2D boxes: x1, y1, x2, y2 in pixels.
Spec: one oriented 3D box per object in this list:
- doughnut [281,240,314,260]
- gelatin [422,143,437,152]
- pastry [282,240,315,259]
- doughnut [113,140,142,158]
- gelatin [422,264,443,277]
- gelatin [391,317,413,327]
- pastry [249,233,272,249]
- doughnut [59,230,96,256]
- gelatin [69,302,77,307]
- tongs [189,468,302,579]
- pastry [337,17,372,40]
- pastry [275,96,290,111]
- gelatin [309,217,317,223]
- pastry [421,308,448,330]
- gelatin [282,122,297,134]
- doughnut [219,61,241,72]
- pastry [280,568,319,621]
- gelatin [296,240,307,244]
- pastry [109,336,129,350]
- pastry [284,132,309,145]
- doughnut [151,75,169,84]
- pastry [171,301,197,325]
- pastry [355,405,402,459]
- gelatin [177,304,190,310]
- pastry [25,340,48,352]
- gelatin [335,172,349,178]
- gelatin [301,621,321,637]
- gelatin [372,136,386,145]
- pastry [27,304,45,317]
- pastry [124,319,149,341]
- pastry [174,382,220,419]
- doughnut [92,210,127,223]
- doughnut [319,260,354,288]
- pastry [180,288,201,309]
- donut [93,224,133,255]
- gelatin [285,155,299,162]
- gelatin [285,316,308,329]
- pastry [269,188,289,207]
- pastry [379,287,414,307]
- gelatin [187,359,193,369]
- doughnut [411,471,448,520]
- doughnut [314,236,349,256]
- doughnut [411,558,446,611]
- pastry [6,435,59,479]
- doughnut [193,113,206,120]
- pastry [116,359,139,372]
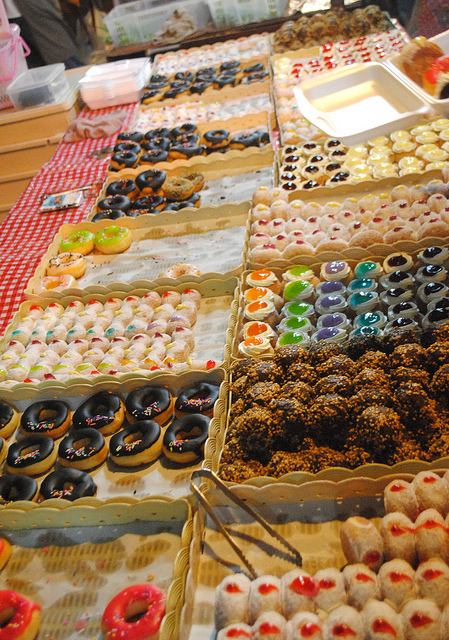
[{"bbox_3d":[0.461,-0.436,3.213,0.135,0.076,0.146,-14,-3,-17],"label":"doughnut"},{"bbox_3d":[1.521,-1.299,3.882,0.089,0.022,0.082,-16,39,-7],"label":"gelatin"},{"bbox_3d":[0.466,-0.443,3.238,0.135,0.075,0.140,-27,12,-41],"label":"pastry"},{"bbox_3d":[-1.034,-1.851,5.544,0.252,0.085,0.229,-21,54,-13],"label":"doughnut"},{"bbox_3d":[1.046,-0.249,2.618,0.095,0.022,0.079,-28,40,-14],"label":"gelatin"},{"bbox_3d":[0.836,0.014,2.436,0.053,0.013,0.052,-20,9,30],"label":"gelatin"},{"bbox_3d":[0.232,-0.542,3.486,0.123,0.111,0.109,-2,34,2],"label":"pastry"},{"bbox_3d":[-1.280,-0.697,4.557,0.267,0.088,0.242,-7,34,3],"label":"doughnut"},{"bbox_3d":[-1.110,-0.111,3.803,0.041,0.010,0.039,14,6,-24],"label":"gelatin"},{"bbox_3d":[-0.026,0.605,1.619,0.258,0.070,0.561,-16,9,-21],"label":"tongs"},{"bbox_3d":[1.562,-3.460,6.172,0.473,0.125,0.411,-1,47,17],"label":"pastry"},{"bbox_3d":[0.586,-2.235,5.324,0.185,0.048,0.175,-12,37,36],"label":"pastry"},{"bbox_3d":[0.588,-0.665,3.454,0.031,0.012,0.037,-2,24,31],"label":"gelatin"},{"bbox_3d":[0.956,0.002,2.386,0.104,0.033,0.095,-18,25,51],"label":"pastry"},{"bbox_3d":[0.599,-1.782,4.805,0.130,0.109,0.120,-1,14,-7],"label":"gelatin"},{"bbox_3d":[0.067,-3.228,6.562,0.186,0.061,0.169,1,45,16],"label":"doughnut"},{"bbox_3d":[0.231,0.857,1.614,0.113,0.069,0.122,-11,41,19],"label":"pastry"},{"bbox_3d":[0.478,-0.483,3.232,0.033,0.015,0.042,2,-5,7],"label":"gelatin"},{"bbox_3d":[-0.687,0.153,3.368,0.098,0.052,0.094,-3,1,-38],"label":"pastry"},{"bbox_3d":[0.626,-1.603,4.574,0.145,0.079,0.137,7,34,15],"label":"pastry"},{"bbox_3d":[-0.831,-3.116,6.699,0.191,0.060,0.172,1,37,0],"label":"doughnut"},{"bbox_3d":[-0.272,-0.065,3.531,0.165,0.141,0.152,-6,29,-19],"label":"pastry"},{"bbox_3d":[0.582,0.422,1.968,0.167,0.184,0.114,-1,-8,28],"label":"pastry"},{"bbox_3d":[-0.291,-0.093,3.535,0.053,0.016,0.045,20,15,23],"label":"gelatin"},{"bbox_3d":[-1.278,0.171,3.535,0.099,0.059,0.096,-5,9,-41],"label":"pastry"},{"bbox_3d":[0.894,-1.098,3.926,0.069,0.019,0.068,-2,8,-2],"label":"gelatin"},{"bbox_3d":[0.243,0.874,1.470,0.033,0.008,0.033,-13,12,9],"label":"gelatin"},{"bbox_3d":[1.252,-1.473,4.210,0.103,0.062,0.107,12,48,32],"label":"gelatin"},{"bbox_3d":[-1.400,-0.067,3.862,0.107,0.059,0.100,-22,29,-8],"label":"pastry"},{"bbox_3d":[-0.581,0.055,3.479,0.135,0.042,0.133,-36,20,-21],"label":"pastry"},{"bbox_3d":[-0.146,0.435,2.779,0.207,0.074,0.202,-24,30,-12],"label":"pastry"},{"bbox_3d":[-1.051,-0.957,4.727,0.189,0.062,0.170,-4,36,1],"label":"doughnut"},{"bbox_3d":[0.626,-0.274,2.941,0.168,0.092,0.152,0,52,27],"label":"doughnut"},{"bbox_3d":[-0.217,-0.157,3.666,0.144,0.129,0.151,-5,52,2],"label":"pastry"},{"bbox_3d":[-0.961,-0.699,4.504,0.351,0.162,0.255,-25,39,-9],"label":"donut"},{"bbox_3d":[0.560,-1.345,4.329,0.093,0.025,0.060,-4,51,11],"label":"gelatin"},{"bbox_3d":[0.379,0.015,2.730,0.100,0.015,0.086,18,50,36],"label":"gelatin"},{"bbox_3d":[0.399,-0.939,3.949,0.144,0.127,0.154,3,52,2],"label":"pastry"},{"bbox_3d":[0.859,-0.112,2.614,0.119,0.037,0.111,1,43,32],"label":"pastry"},{"bbox_3d":[-0.200,0.255,3.067,0.040,0.012,0.038,33,27,4],"label":"gelatin"},{"bbox_3d":[0.695,0.599,1.754,0.099,0.123,0.071,-28,-18,34],"label":"doughnut"},{"bbox_3d":[0.652,-0.454,3.146,0.147,0.080,0.137,-17,0,0],"label":"doughnut"},{"bbox_3d":[0.599,0.764,1.517,0.086,0.039,0.101,-3,59,46],"label":"doughnut"},{"bbox_3d":[-1.011,0.728,2.766,0.234,0.082,0.233,-34,35,-16],"label":"pastry"},{"bbox_3d":[-0.291,-2.332,5.942,0.121,0.068,0.130,0,24,1],"label":"doughnut"},{"bbox_3d":[-0.600,0.278,3.148,0.088,0.073,0.082,-8,-5,0],"label":"pastry"}]
